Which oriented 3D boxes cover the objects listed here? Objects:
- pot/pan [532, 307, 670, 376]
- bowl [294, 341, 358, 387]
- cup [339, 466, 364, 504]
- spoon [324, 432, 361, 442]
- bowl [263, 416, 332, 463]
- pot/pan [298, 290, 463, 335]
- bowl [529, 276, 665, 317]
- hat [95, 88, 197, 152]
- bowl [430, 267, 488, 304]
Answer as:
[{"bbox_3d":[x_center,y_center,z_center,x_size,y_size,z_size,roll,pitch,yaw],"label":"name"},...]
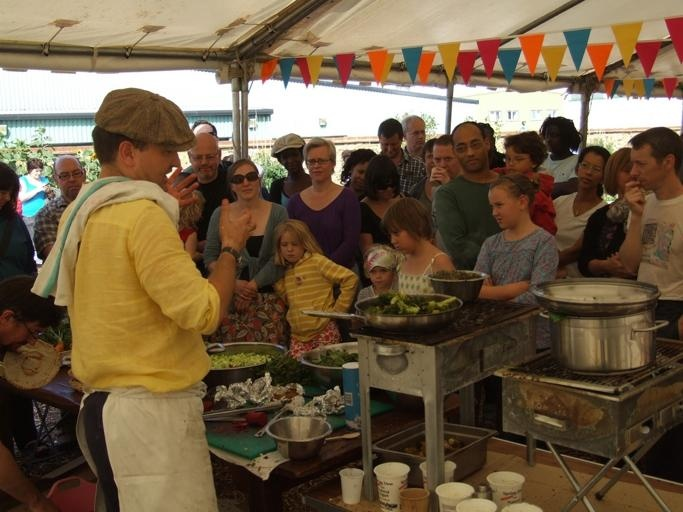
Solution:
[{"bbox_3d":[1.066,0.309,2.524,0.464,0.271,0.583,2,9,16],"label":"pot/pan"},{"bbox_3d":[-0.085,0.632,3.260,0.423,0.141,0.390,-1,5,0],"label":"bowl"},{"bbox_3d":[0.044,1.029,2.535,0.138,0.113,0.131,0,-4,0],"label":"cup"},{"bbox_3d":[0.013,0.883,2.753,0.239,0.028,0.050,-6,23,10],"label":"spoon"},{"bbox_3d":[-0.198,0.847,2.677,0.300,0.154,0.379,-4,8,-20],"label":"bowl"},{"bbox_3d":[0.283,0.191,2.655,0.698,0.153,0.688,5,9,38],"label":"pot/pan"},{"bbox_3d":[1.140,0.177,2.498,0.434,0.168,0.580,1,8,15],"label":"bowl"},{"bbox_3d":[-0.772,-0.531,2.189,0.351,0.259,0.184,-7,10,-20],"label":"hat"},{"bbox_3d":[0.616,0.123,2.891,0.275,0.158,0.265,1,11,0],"label":"bowl"}]
